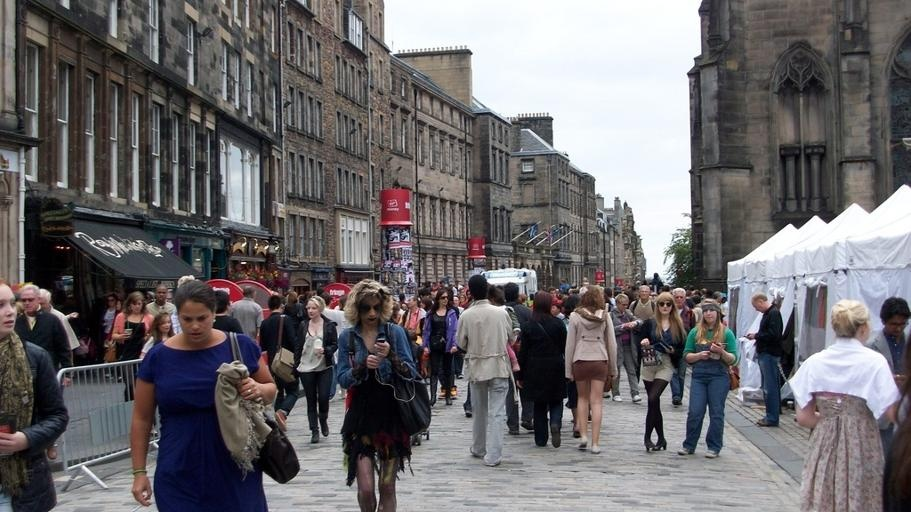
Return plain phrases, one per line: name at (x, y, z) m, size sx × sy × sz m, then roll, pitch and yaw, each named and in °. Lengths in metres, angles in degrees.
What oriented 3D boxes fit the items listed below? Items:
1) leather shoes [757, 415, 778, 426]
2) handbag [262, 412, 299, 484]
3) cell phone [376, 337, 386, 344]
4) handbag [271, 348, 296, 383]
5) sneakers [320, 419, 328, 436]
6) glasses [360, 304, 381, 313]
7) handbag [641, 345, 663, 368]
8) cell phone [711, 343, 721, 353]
leather shoes at (7.263, 3.803, 24.105) m, size 0.449 × 0.188 × 0.194 m, roll 2°, pitch 0°, yaw 13°
handbag at (-2.697, 2.926, 15.782) m, size 0.604 × 1.007 × 0.303 m, roll 1°, pitch -5°, yaw -18°
cell phone at (-1.244, 1.392, 17.436) m, size 0.180 × 0.104 × 0.180 m, roll 0°, pitch -5°, yaw -5°
handbag at (-3.754, 2.373, 22.659) m, size 0.735 × 0.734 × 0.361 m, roll 17°, pitch -22°, yaw -35°
sneakers at (-2.927, 3.778, 22.962) m, size 0.126 × 0.365 × 0.248 m, roll -11°, pitch -2°, yaw -13°
glasses at (-1.427, 0.875, 17.477) m, size 0.359 × 0.134 × 0.101 m, roll 1°, pitch -5°, yaw -13°
handbag at (4.242, 2.133, 22.246) m, size 0.449 × 0.417 × 0.159 m, roll -3°, pitch -16°, yaw 8°
cell phone at (5.334, 1.867, 21.201) m, size 0.175 × 0.157 × 0.284 m, roll 6°, pitch -2°, yaw -2°
